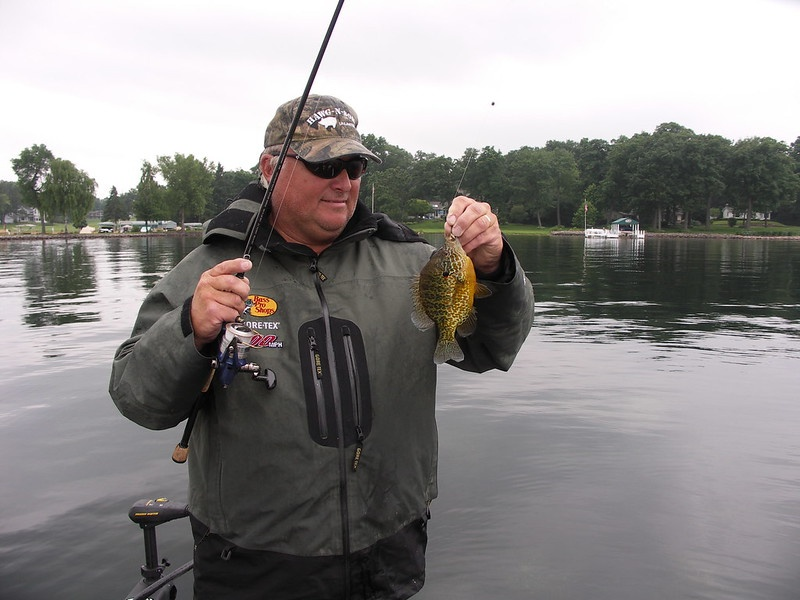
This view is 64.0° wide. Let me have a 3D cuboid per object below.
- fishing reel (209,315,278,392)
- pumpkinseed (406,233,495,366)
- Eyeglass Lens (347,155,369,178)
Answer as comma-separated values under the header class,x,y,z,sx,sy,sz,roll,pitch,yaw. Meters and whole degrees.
class,x,y,z,sx,sy,sz,roll,pitch,yaw
fishing reel,-0.787,0.281,3.179,0.285,0.303,0.199,16,22,-30
pumpkinseed,0.248,0.011,3.403,0.357,0.727,0.332,-10,15,-38
Eyeglass Lens,-0.232,-0.723,3.510,0.043,0.108,0.103,0,-7,-45
